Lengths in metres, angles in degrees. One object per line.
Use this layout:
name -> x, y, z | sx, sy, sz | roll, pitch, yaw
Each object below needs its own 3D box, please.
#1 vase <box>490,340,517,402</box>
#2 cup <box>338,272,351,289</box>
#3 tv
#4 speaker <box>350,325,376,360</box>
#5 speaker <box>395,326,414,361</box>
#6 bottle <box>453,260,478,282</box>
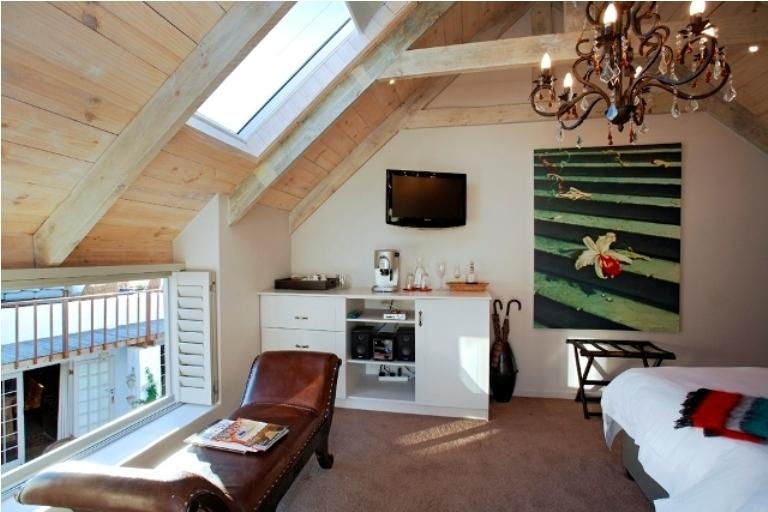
vase -> 1.220, 1.197, 5.109 | 0.254, 0.623, 0.179 | -2, -5, 17
cup -> -0.435, 0.274, 5.456 | 0.133, 0.175, 0.226 | 0, -5, -5
tv -> 0.434, -0.589, 5.149 | 0.614, 0.431, 0.080 | 1, -2, -5
speaker -> -0.223, 0.889, 5.105 | 0.184, 0.281, 0.340 | 0, -1, 8
speaker -> 0.211, 0.899, 5.029 | 0.165, 0.287, 0.304 | 0, 3, 3
bottle -> 0.854, 0.172, 5.215 | 0.262, 0.258, 0.284 | -1, -5, 9
